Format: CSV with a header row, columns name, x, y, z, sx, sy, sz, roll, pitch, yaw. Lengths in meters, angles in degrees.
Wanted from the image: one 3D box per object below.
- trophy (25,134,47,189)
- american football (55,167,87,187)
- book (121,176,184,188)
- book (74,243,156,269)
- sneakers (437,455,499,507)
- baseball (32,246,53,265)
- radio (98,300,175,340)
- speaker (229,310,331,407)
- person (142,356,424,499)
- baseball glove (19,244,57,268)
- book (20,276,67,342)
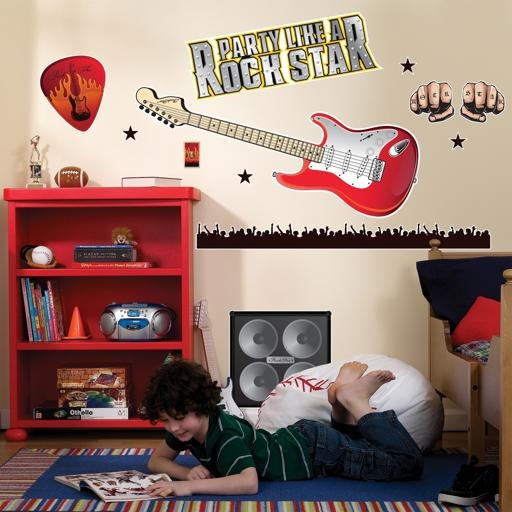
name,x,y,z,sx,sy,sz,roll,pitch,yaw
trophy,-1.056,-0.456,2.703,0.089,0.283,0.165,1,-6,-22
american football,-0.855,-0.366,2.599,0.128,0.086,0.090,3,1,2
book,-0.475,-0.338,2.553,0.259,0.050,0.092,0,-5,-14
book,-0.662,-0.006,2.570,0.331,0.120,0.148,1,-5,-17
sneakers,0.653,0.707,1.753,0.264,0.104,0.087,7,-17,-39
baseball,-0.979,-0.003,2.557,0.088,0.084,0.087,7,8,-6
radio,-0.562,0.299,2.620,0.330,0.159,0.164,1,2,-3
speaker,0.112,0.483,2.586,0.482,0.421,0.170,0,-5,1
person,0.080,0.505,1.849,0.785,0.306,0.450,0,-13,-12
baseball glove,-1.021,-0.003,2.621,0.138,0.070,0.100,10,2,32
book,-0.991,0.246,2.584,0.171,0.275,0.303,-5,3,-5
